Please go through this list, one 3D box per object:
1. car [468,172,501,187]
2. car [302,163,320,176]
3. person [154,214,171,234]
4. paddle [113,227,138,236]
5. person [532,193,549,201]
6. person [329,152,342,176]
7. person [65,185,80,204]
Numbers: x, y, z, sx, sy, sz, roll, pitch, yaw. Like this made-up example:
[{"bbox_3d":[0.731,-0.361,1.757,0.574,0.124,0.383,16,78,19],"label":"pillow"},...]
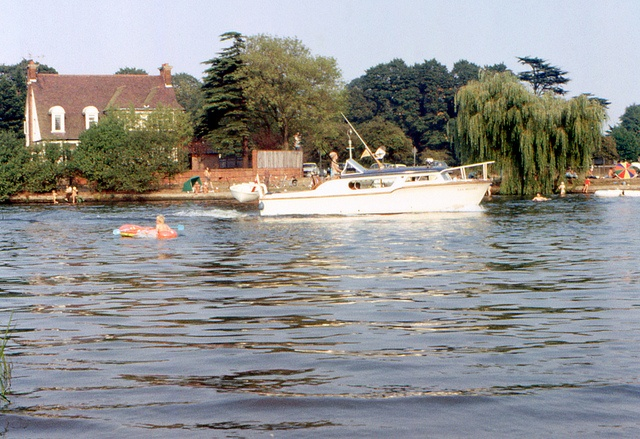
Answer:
[{"bbox_3d":[10.874,-2.750,79.102,2.842,0.720,1.872,2,1,19],"label":"car"},{"bbox_3d":[-0.909,-5.233,122.387,1.590,1.257,4.831,-2,-1,4],"label":"car"},{"bbox_3d":[-8.208,0.154,63.404,0.654,0.851,0.791,-2,7,-6],"label":"person"},{"bbox_3d":[-10.169,0.535,64.136,1.415,0.535,0.533,1,8,21],"label":"paddle"},{"bbox_3d":[15.181,-1.522,82.621,0.965,0.268,0.776,-2,-1,3],"label":"person"},{"bbox_3d":[0.995,-3.465,73.394,0.935,1.367,0.426,1,-9,-3],"label":"person"},{"bbox_3d":[-19.175,-2.031,93.747,1.192,1.192,0.471,2,2,22],"label":"person"}]
